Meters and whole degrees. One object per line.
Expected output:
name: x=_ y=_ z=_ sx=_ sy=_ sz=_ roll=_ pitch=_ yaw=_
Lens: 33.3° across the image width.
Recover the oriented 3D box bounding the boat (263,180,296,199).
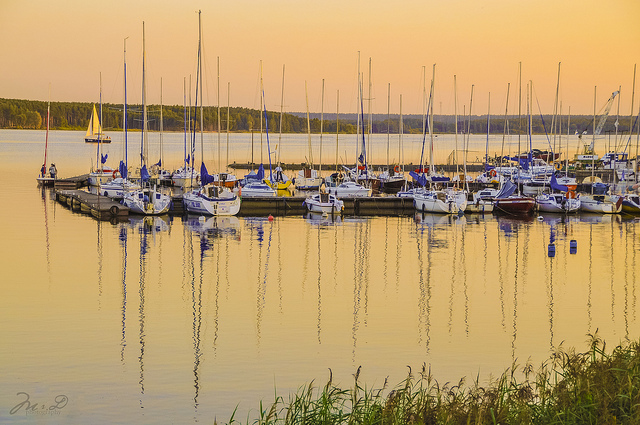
boat: x=-2.468 y=-1.524 z=70.715 sx=0.821 sy=0.976 sz=3.089 roll=-1 pitch=-2 yaw=-22

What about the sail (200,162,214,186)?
sail: x=-6.426 y=-2.177 z=61.045 sx=0.685 sy=1.320 sz=2.257 roll=0 pitch=10 yaw=-5

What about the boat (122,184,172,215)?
boat: x=-9.857 y=-0.780 z=60.026 sx=2.375 sy=1.690 sz=4.699 roll=-2 pitch=3 yaw=-20

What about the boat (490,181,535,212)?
boat: x=10.800 y=-1.038 z=63.645 sx=3.438 sy=1.712 sz=1.866 roll=3 pitch=-1 yaw=29

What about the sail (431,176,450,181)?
sail: x=7.942 y=-2.115 z=68.351 sx=1.210 sy=0.248 sz=1.128 roll=-6 pitch=13 yaw=-34

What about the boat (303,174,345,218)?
boat: x=0.054 y=-0.554 z=63.003 sx=1.905 sy=1.300 sz=3.570 roll=0 pitch=8 yaw=-27

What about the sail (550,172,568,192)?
sail: x=14.851 y=-1.619 z=66.028 sx=0.943 sy=1.338 sz=4.342 roll=2 pitch=11 yaw=11

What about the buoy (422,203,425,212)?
buoy: x=6.115 y=-0.281 z=62.476 sx=0.111 sy=0.483 sz=0.249 roll=1 pitch=10 yaw=6

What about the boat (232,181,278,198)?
boat: x=-3.750 y=-1.259 z=65.346 sx=2.078 sy=0.878 sz=1.176 roll=0 pitch=7 yaw=4

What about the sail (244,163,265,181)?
sail: x=-4.280 y=-2.679 z=71.730 sx=1.082 sy=1.053 sz=4.159 roll=0 pitch=11 yaw=-4

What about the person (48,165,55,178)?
person: x=-18.660 y=-2.847 z=74.527 sx=0.289 sy=0.915 sz=1.021 roll=-2 pitch=11 yaw=-16

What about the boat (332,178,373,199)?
boat: x=1.943 y=-1.393 z=65.962 sx=2.135 sy=0.841 sz=1.373 roll=-1 pitch=5 yaw=18
